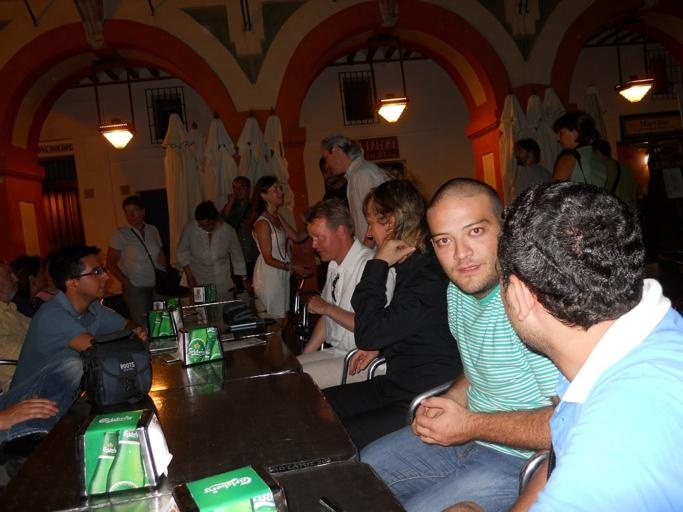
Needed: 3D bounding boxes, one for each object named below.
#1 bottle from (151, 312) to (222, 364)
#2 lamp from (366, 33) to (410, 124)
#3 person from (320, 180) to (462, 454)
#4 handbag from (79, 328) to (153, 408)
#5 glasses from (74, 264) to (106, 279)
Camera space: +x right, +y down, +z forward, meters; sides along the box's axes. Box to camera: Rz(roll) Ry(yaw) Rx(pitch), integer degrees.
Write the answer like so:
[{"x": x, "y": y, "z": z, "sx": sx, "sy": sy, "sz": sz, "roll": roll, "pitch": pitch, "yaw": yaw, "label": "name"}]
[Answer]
[{"x": -0.803, "y": 0.368, "z": 2.643, "sx": 0.278, "sy": 0.164, "sz": 0.367, "roll": -2, "pitch": 5, "yaw": -26, "label": "bottle"}, {"x": 0.996, "y": -3.807, "z": 10.371, "sx": 0.677, "sy": 2.078, "sz": 0.602, "roll": -6, "pitch": -8, "yaw": -3, "label": "lamp"}, {"x": 0.245, "y": 0.282, "z": 3.265, "sx": 1.118, "sy": 2.011, "sz": 0.875, "roll": -1, "pitch": 1, "yaw": 5, "label": "person"}, {"x": -0.974, "y": 0.474, "z": 2.229, "sx": 0.268, "sy": 0.313, "sz": 0.319, "roll": -8, "pitch": -5, "yaw": 41, "label": "handbag"}, {"x": -1.558, "y": 0.092, "z": 3.101, "sx": 0.083, "sy": 0.064, "sz": 0.224, "roll": -2, "pitch": 5, "yaw": 16, "label": "glasses"}]
